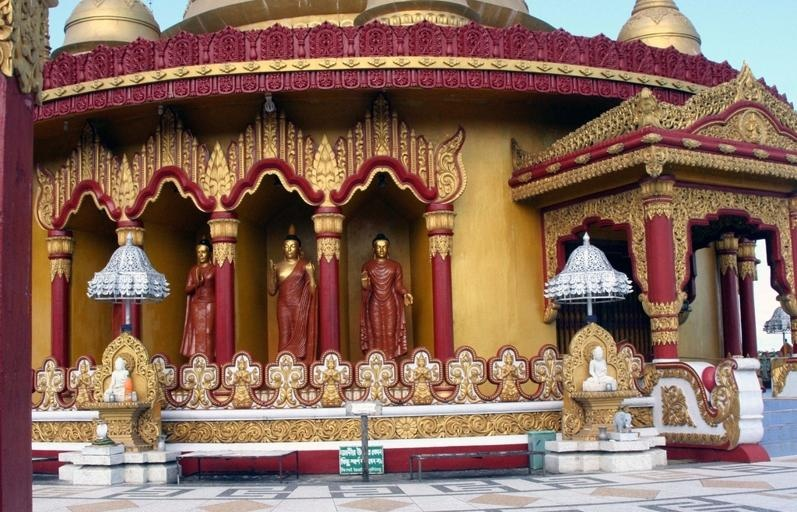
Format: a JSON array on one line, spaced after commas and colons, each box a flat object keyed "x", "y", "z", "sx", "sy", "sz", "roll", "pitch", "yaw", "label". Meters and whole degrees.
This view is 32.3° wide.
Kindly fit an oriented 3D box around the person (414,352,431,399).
[{"x": 0.328, "y": 1.805, "z": 20.128, "sx": 0.230, "sy": 0.733, "sz": 0.107, "roll": -2, "pitch": -14, "yaw": -2, "label": "person"}]

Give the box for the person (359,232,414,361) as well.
[{"x": -0.249, "y": 0.665, "z": 22.041, "sx": 0.771, "sy": 2.034, "sz": 0.612, "roll": -2, "pitch": -14, "yaw": -2, "label": "person"}]

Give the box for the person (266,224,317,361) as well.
[{"x": -1.683, "y": 0.633, "z": 21.996, "sx": 0.755, "sy": 2.227, "sz": 0.331, "roll": -1, "pitch": -14, "yaw": -5, "label": "person"}]

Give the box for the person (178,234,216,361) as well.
[{"x": -3.254, "y": 0.688, "z": 22.362, "sx": 0.518, "sy": 2.051, "sz": 0.495, "roll": 0, "pitch": -15, "yaw": -10, "label": "person"}]

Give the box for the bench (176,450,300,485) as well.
[{"x": -2.292, "y": 2.994, "z": 19.730, "sx": 1.713, "sy": 0.523, "sz": 1.136, "roll": -1, "pitch": -15, "yaw": -6, "label": "bench"}]

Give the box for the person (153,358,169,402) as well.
[{"x": -3.480, "y": 1.834, "z": 20.193, "sx": 0.134, "sy": 0.717, "sz": 0.370, "roll": -5, "pitch": -15, "yaw": 11, "label": "person"}]

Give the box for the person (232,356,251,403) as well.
[{"x": -2.293, "y": 1.856, "z": 20.232, "sx": 0.260, "sy": 0.768, "sz": 0.158, "roll": -1, "pitch": -14, "yaw": -6, "label": "person"}]

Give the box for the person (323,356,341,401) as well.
[{"x": -0.991, "y": 1.839, "z": 20.137, "sx": 0.270, "sy": 0.751, "sz": 0.140, "roll": -2, "pitch": -14, "yaw": -3, "label": "person"}]
